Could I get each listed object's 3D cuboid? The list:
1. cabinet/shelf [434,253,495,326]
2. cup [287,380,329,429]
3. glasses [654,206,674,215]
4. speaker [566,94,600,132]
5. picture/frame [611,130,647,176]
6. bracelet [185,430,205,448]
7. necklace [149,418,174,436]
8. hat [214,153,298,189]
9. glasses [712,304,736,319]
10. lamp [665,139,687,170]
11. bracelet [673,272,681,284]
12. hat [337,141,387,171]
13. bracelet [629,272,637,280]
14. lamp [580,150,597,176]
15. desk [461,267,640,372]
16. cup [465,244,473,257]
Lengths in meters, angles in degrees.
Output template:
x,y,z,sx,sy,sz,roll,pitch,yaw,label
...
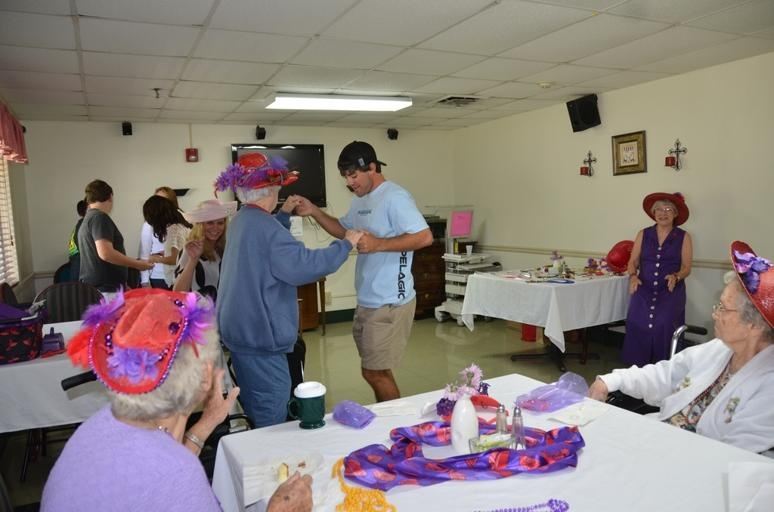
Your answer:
x,y,z,sx,sy,sz,roll,pitch,yaw,label
1.014,0.412,7.205,1.024,1.107,0.820,-2,8,-19,cabinet/shelf
-0.343,0.653,2.312,0.209,0.203,0.167,1,8,10,cup
2.751,-0.440,5.046,0.095,0.098,0.030,-5,35,28,glasses
2.318,-1.691,6.120,0.375,0.498,0.365,-13,6,23,speaker
2.727,-1.157,5.686,0.050,0.624,0.539,-3,5,-29,picture/frame
-0.772,0.737,2.031,0.060,0.064,0.015,20,65,42,bracelet
-0.752,0.562,1.697,0.059,0.062,0.066,1,3,-20,necklace
-0.767,-0.484,3.036,0.317,0.112,0.316,-2,6,11,hat
1.628,0.267,2.452,0.094,0.030,0.093,3,0,28,glasses
3.000,-1.041,5.278,0.076,0.324,0.193,-10,12,-41,lamp
2.822,0.208,4.939,0.085,0.091,0.047,3,-8,-6,bracelet
-0.185,-0.699,3.607,0.284,0.160,0.195,-2,8,-28,hat
2.538,0.208,5.247,0.055,0.015,0.053,-7,39,19,bracelet
2.414,-1.103,6.139,0.088,0.307,0.203,-8,11,-33,lamp
1.807,0.482,5.349,1.038,0.519,1.218,-1,2,-40,desk
1.149,-0.067,7.203,0.134,0.171,0.146,0,4,0,cup
